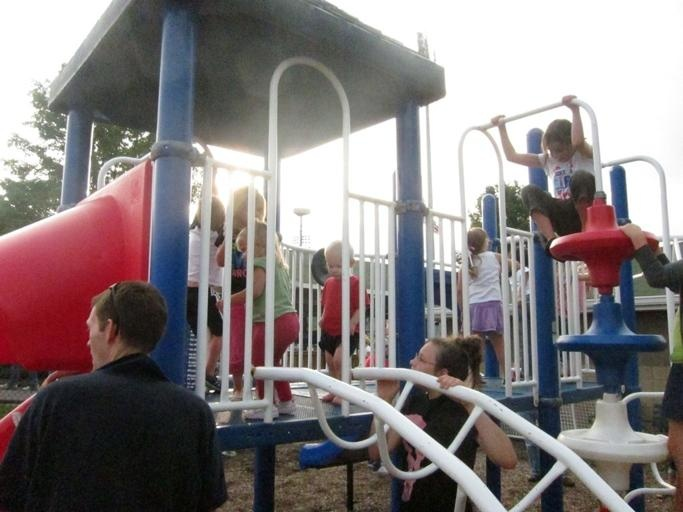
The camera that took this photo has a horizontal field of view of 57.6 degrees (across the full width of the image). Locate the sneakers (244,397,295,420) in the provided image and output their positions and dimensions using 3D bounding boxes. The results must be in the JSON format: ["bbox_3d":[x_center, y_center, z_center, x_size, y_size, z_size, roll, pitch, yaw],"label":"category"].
[{"bbox_3d":[-0.429,0.891,3.716,0.293,0.155,0.118,3,-10,-15],"label":"sneakers"}]

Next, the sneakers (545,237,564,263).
[{"bbox_3d":[1.282,-0.040,3.838,0.180,0.074,0.195,-8,-19,28],"label":"sneakers"}]
